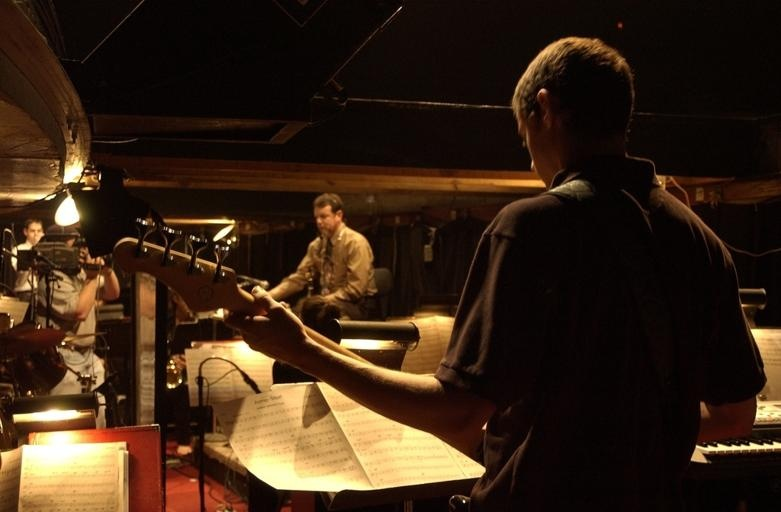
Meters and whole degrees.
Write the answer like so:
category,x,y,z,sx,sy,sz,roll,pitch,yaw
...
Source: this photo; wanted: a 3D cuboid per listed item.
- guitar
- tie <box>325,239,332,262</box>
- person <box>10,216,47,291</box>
category,x,y,z,sx,sy,sz,roll,pitch,yaw
guitar,-0.462,0.095,3.531,2.250,0.244,0.761,31,-43,8
tie,-0.642,-0.054,7.871,0.038,0.157,0.156,4,-7,-6
person,-3.818,-0.028,7.899,0.277,0.944,1.570,4,-11,-25
